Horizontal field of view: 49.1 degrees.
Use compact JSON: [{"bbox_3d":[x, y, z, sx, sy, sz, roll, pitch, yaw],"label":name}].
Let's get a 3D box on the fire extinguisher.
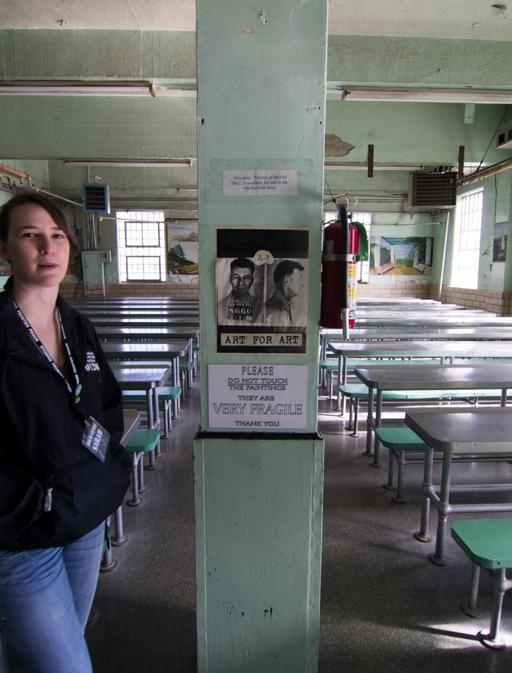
[{"bbox_3d":[0.219,-0.201,1.561,0.091,0.344,0.097,4,9,4],"label":"fire extinguisher"}]
